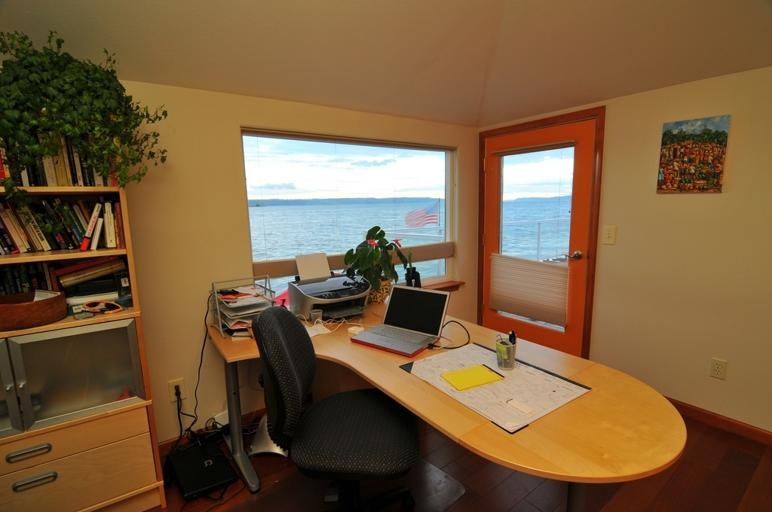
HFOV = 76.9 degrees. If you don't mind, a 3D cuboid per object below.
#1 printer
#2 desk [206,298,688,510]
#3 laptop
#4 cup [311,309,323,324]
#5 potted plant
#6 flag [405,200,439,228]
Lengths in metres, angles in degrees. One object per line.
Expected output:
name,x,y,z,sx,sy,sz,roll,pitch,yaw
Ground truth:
printer,-0.458,0.258,3.906,0.588,0.446,0.535,-11,19,-41
desk,0.196,1.079,3.354,3.144,1.088,1.276,6,11,30
laptop,0.163,0.454,3.437,0.517,0.321,0.504,10,15,38
cup,-0.530,0.464,3.752,0.087,0.074,0.092,-2,18,1
potted plant,-0.141,0.050,4.264,0.606,0.626,0.574,6,11,41
flag,0.344,-0.435,4.917,0.274,0.240,0.027,-6,21,-18
